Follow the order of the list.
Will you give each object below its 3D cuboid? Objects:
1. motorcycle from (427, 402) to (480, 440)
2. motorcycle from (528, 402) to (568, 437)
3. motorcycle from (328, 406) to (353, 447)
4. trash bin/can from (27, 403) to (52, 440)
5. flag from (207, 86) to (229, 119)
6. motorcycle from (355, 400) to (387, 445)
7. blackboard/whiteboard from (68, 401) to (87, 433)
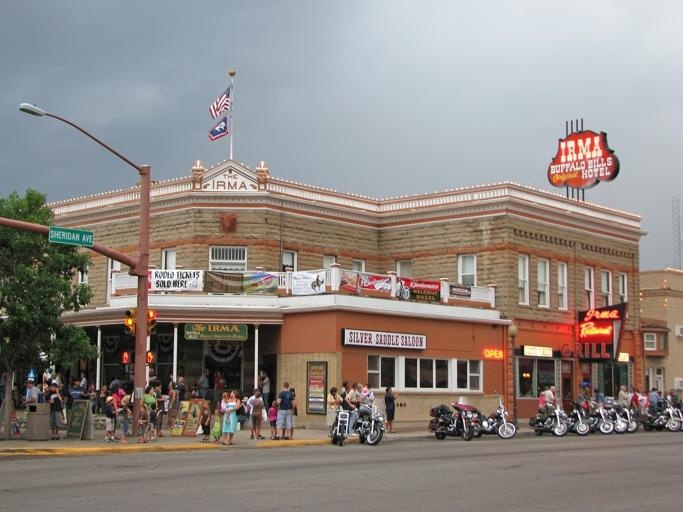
[{"bbox_3d":[4.157,6.257,35.621,2.039,1.410,0.655,1,-7,-7],"label":"motorcycle"},{"bbox_3d":[8.535,6.650,38.009,1.234,1.335,2.240,17,-15,-18],"label":"motorcycle"},{"bbox_3d":[0.002,5.830,33.092,0.798,1.350,2.091,8,2,-2],"label":"motorcycle"},{"bbox_3d":[-10.332,5.699,32.272,1.055,1.345,1.073,-4,-8,42],"label":"trash bin/can"},{"bbox_3d":[-5.991,-7.707,46.502,0.977,1.256,1.125,1,0,-15],"label":"flag"},{"bbox_3d":[1.137,5.882,32.918,1.388,0.966,0.927,0,-7,35],"label":"motorcycle"},{"bbox_3d":[-8.939,5.450,31.585,1.060,0.912,0.331,1,0,42],"label":"blackboard/whiteboard"}]
